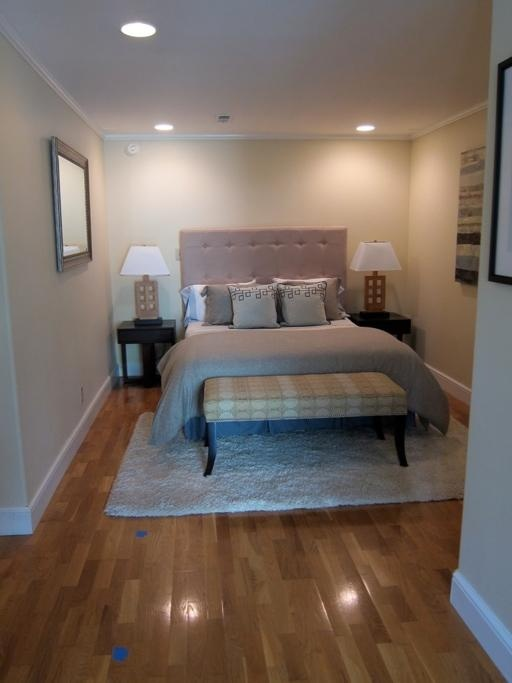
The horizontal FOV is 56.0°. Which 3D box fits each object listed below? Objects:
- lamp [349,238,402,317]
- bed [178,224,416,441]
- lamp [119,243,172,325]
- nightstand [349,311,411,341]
[{"bbox_3d":[1.096,-0.585,4.414,0.485,0.646,0.512,-2,9,-24],"label":"lamp"},{"bbox_3d":[0.089,-0.182,4.934,1.706,1.773,1.258,-3,10,-7],"label":"bed"},{"bbox_3d":[-0.989,-0.511,4.304,0.395,0.682,0.511,-3,9,-11],"label":"lamp"},{"bbox_3d":[1.148,-0.209,4.492,0.348,0.355,0.361,-2,15,-7],"label":"nightstand"}]
